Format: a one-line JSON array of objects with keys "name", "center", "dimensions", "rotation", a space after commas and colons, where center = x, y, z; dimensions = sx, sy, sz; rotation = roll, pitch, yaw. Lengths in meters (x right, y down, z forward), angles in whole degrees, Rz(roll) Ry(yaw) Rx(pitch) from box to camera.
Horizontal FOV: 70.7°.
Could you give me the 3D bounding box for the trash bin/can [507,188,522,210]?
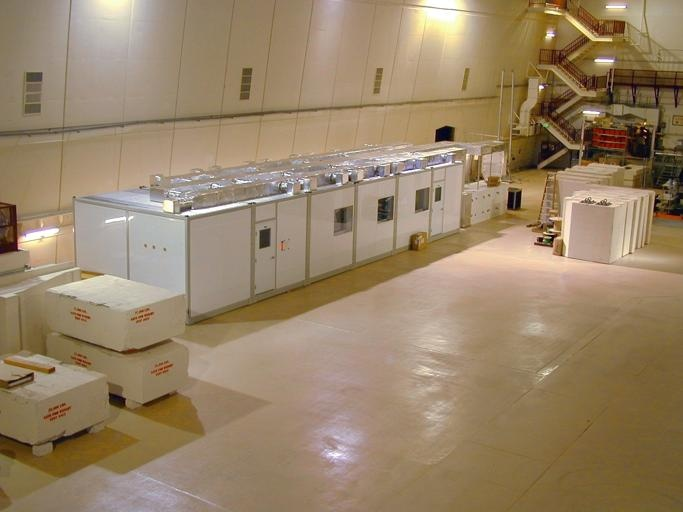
[{"name": "trash bin/can", "center": [7.429, -2.482, 20.678], "dimensions": [0.791, 1.220, 0.823], "rotation": [3, 11, 23]}]
